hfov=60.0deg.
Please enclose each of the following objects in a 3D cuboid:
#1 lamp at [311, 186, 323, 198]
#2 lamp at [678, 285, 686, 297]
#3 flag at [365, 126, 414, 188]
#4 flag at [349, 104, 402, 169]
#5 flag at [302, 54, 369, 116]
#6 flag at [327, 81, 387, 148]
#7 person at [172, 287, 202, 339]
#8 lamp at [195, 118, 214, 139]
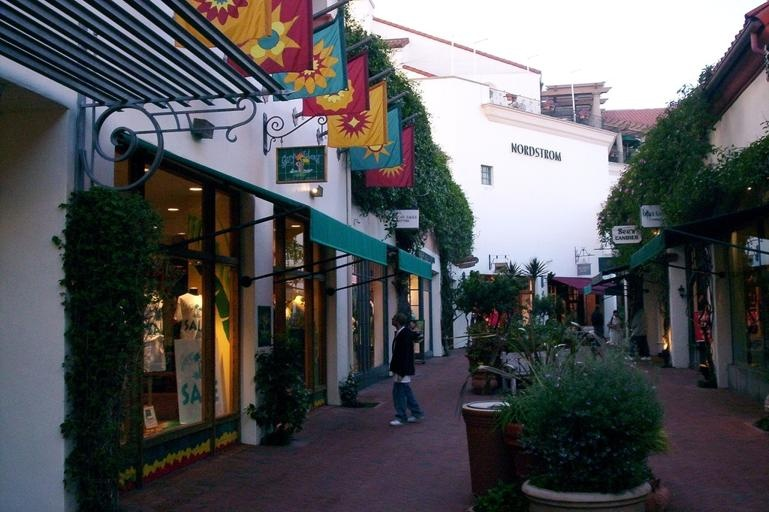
[{"bbox_3d":[-1.471,-1.364,14.245,0.187,0.266,0.352,-1,1,16],"label":"lamp"},{"bbox_3d":[9.703,1.164,21.653,0.192,0.393,0.130,-3,-7,4],"label":"lamp"},{"bbox_3d":[0.126,-2.379,15.887,1.397,1.911,0.141,0,-4,12],"label":"flag"},{"bbox_3d":[-0.172,-2.564,14.254,1.297,1.636,0.123,-1,-3,32],"label":"flag"},{"bbox_3d":[-0.873,-2.901,11.418,1.074,1.315,0.099,-2,-11,4],"label":"flag"},{"bbox_3d":[-0.558,-2.685,12.764,1.377,1.726,0.117,-1,-9,1],"label":"flag"},{"bbox_3d":[-3.083,0.896,10.432,0.195,0.761,0.719,-4,-7,8],"label":"person"},{"bbox_3d":[-2.704,-1.890,9.885,0.200,0.280,0.393,-2,-3,10],"label":"lamp"}]
